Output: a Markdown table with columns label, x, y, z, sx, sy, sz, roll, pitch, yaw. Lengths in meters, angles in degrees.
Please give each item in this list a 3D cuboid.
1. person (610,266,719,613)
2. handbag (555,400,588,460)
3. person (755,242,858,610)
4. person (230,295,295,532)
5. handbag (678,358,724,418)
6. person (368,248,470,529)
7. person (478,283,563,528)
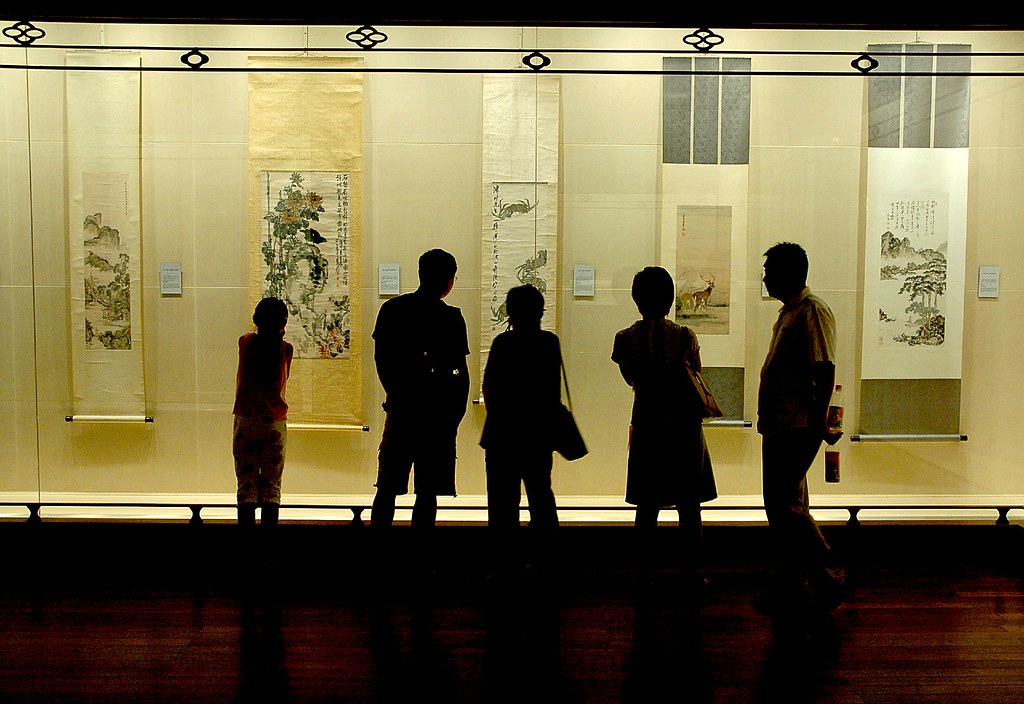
| label | x | y | z | sx | sy | sz | roll | pitch | yaw |
| --- | --- | --- | --- | --- | --- | --- | --- | --- | --- |
| person | 1.027 | 0.588 | 7.427 | 0.829 | 2.173 | 0.731 | -9 | 8 | 15 |
| handbag | 0.410 | 0.561 | 7.526 | 0.215 | 0.457 | 0.450 | 0 | 8 | 4 |
| person | 1.998 | 0.507 | 7.301 | 0.599 | 2.487 | 0.388 | 2 | 9 | 21 |
| person | -1.831 | 0.456 | 7.758 | 0.434 | 1.697 | 0.195 | -3 | 8 | -14 |
| handbag | 1.320 | 0.241 | 7.474 | 0.204 | 0.415 | 0.444 | -30 | -4 | 8 |
| person | -0.667 | 0.294 | 7.510 | 0.734 | 2.027 | 0.296 | 0 | 8 | 3 |
| person | 0.064 | 0.394 | 7.402 | 0.575 | 1.708 | 0.245 | -1 | 8 | -2 |
